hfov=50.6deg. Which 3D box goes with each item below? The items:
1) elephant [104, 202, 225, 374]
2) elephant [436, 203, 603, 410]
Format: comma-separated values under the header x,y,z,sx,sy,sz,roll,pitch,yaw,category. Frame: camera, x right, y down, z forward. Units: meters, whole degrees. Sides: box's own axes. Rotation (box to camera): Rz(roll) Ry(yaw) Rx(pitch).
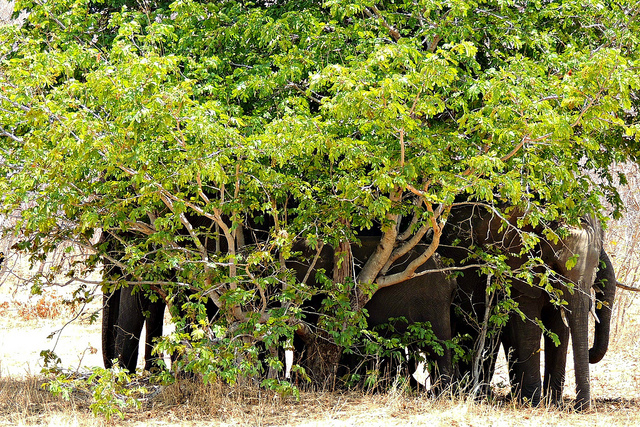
x,y,z,sx,sy,sz,roll,pitch,yaw,category
-3.388,1.262,12.785,3.446,2.491,1.712,-7,4,5,elephant
4.536,1.948,14.417,2.393,3.881,4.020,9,-14,-14,elephant
